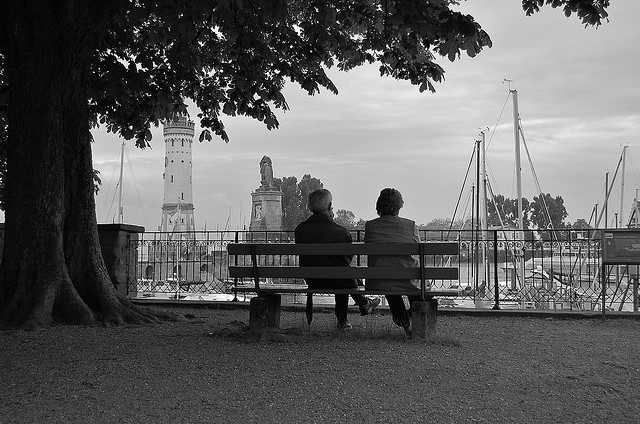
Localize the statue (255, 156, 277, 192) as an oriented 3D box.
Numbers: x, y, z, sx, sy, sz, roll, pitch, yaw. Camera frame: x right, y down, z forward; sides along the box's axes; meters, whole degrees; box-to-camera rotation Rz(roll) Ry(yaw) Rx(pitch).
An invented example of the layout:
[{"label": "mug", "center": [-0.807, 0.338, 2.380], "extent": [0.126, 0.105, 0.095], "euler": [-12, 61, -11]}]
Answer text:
[{"label": "statue", "center": [-4.238, -3.166, 60.740], "extent": [1.850, 2.915, 1.780], "euler": [0, 6, 4]}]

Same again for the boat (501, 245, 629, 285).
[{"label": "boat", "center": [7.760, 1.701, 23.986], "extent": [3.603, 1.332, 2.619], "euler": [-1, -3, 11]}]
